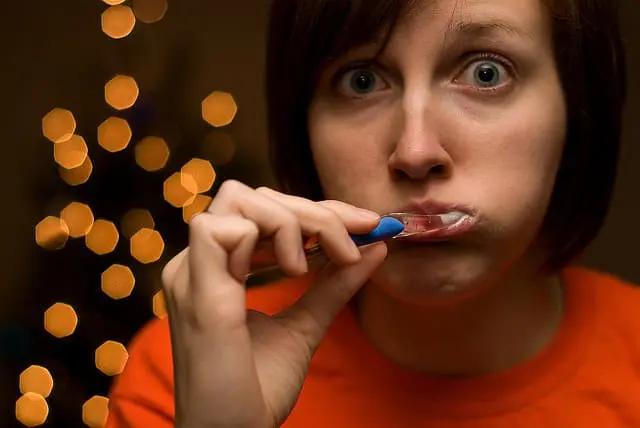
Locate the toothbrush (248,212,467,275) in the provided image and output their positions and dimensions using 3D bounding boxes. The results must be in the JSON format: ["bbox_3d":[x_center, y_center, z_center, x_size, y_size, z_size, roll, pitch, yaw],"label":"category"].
[{"bbox_3d":[0.077,0.049,1.697,0.616,0.079,0.120,-9,45,-29],"label":"toothbrush"}]
